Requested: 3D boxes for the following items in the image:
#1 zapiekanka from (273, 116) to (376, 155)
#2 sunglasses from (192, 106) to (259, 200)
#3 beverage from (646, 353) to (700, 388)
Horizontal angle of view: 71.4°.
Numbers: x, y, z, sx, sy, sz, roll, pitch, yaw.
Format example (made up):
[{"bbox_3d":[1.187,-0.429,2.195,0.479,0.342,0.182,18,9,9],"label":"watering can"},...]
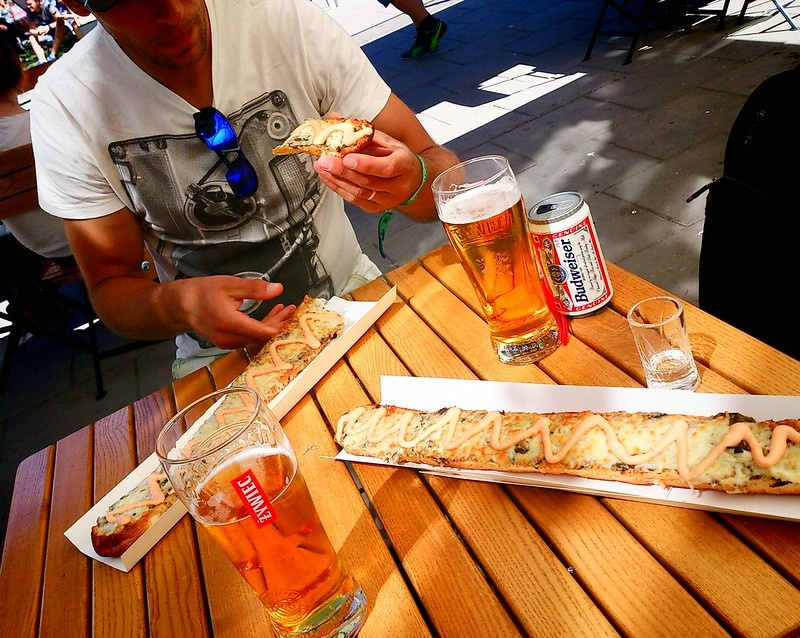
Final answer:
[{"bbox_3d":[-0.233,-0.547,1.686,0.307,0.057,0.183,6,49,27],"label":"zapiekanka"},{"bbox_3d":[-0.606,-0.578,1.964,0.117,0.328,0.125,-28,44,-6],"label":"sunglasses"},{"bbox_3d":[0.564,0.112,1.161,0.094,0.059,0.085,-6,6,26],"label":"beverage"}]
